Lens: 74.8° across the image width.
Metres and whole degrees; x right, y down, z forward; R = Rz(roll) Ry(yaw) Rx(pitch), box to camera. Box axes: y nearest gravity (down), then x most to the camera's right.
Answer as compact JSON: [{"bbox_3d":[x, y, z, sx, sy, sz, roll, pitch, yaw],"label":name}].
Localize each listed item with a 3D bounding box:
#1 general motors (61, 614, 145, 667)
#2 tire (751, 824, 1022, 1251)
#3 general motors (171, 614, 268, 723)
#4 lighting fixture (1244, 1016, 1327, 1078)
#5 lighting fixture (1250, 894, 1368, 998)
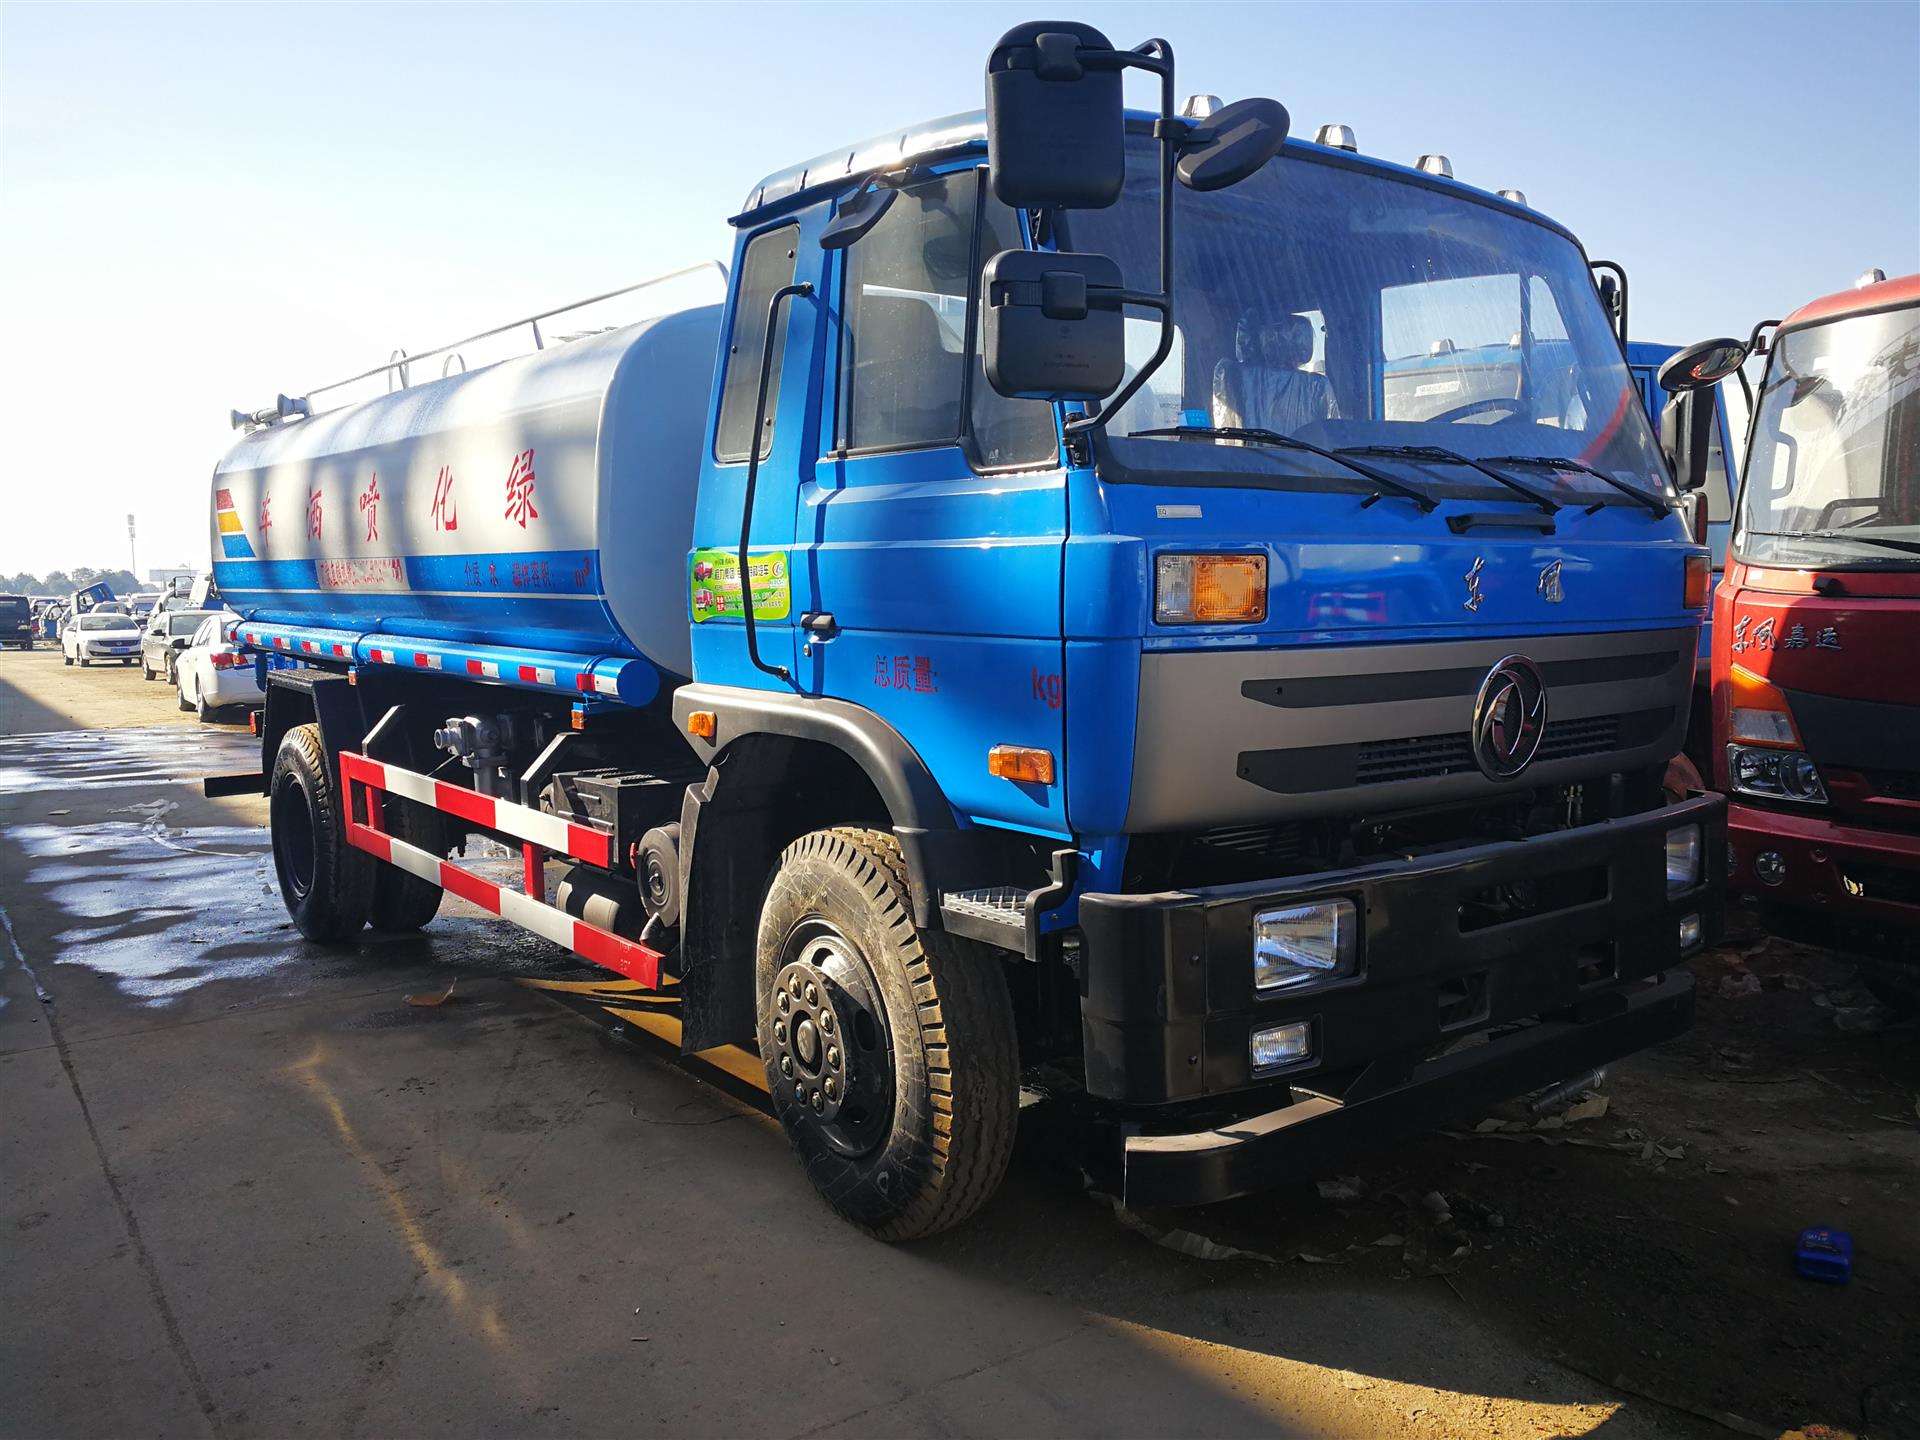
[{"bbox_3d":[-25.445,-2.524,37.401,1.637,1.458,3.970,-2,1,-36],"label":"general motors"},{"bbox_3d":[-0.209,1.033,4.056,0.487,1.259,1.266,-8,4,-36],"label":"tire"},{"bbox_3d":[-10.734,-0.661,18.187,1.451,1.413,3.335,-3,13,-35],"label":"general motors"},{"bbox_3d":[0.891,0.912,3.428,0.176,0.143,0.052,-2,1,-26],"label":"lighting fixture"},{"bbox_3d":[0.954,0.633,3.491,0.257,0.280,0.185,-2,-1,-26],"label":"lighting fixture"}]
